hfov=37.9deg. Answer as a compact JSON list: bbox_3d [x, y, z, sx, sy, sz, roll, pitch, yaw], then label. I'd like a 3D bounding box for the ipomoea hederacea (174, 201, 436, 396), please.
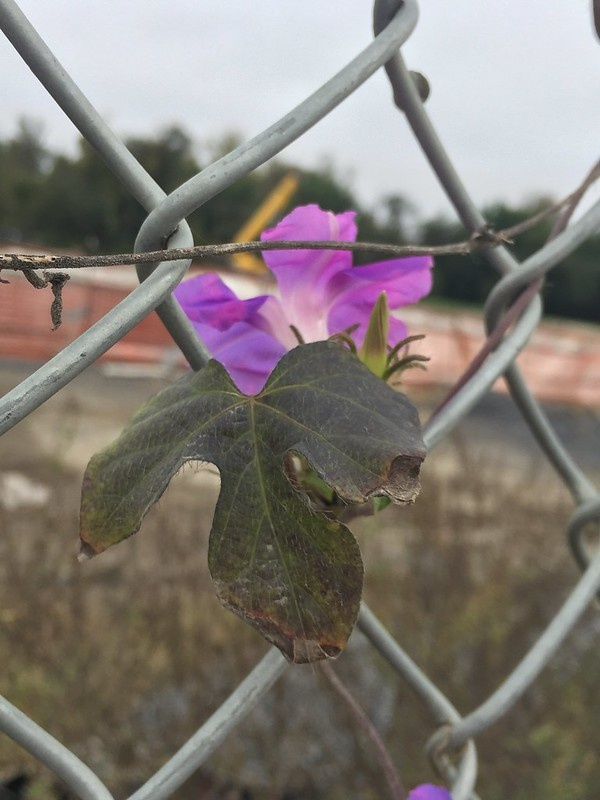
[{"bbox_3d":[0.001,-0.042,0.429,0.108,0.045,0.106,28,41,30],"label":"ipomoea hederacea"}]

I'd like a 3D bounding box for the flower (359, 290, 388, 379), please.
[{"bbox_3d":[0.034,-0.029,0.392,0.014,0.040,0.028,6,35,4],"label":"flower"}]
